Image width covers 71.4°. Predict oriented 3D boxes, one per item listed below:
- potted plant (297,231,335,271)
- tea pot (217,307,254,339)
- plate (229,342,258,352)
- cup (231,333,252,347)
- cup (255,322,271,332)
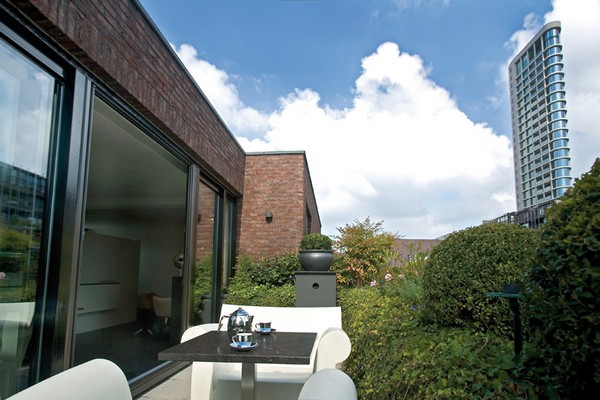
[{"bbox_3d":[0.272,0.969,7.643,0.642,0.814,0.667,2,-17,-6],"label":"potted plant"},{"bbox_3d":[-0.647,1.281,4.361,0.406,0.306,0.238,-1,-9,-21],"label":"tea pot"},{"bbox_3d":[-0.518,1.320,3.764,0.243,0.073,0.160,5,-14,-5],"label":"plate"},{"bbox_3d":[-0.534,1.277,3.817,0.168,0.120,0.114,0,-11,1],"label":"cup"},{"bbox_3d":[-0.390,1.343,4.421,0.139,0.103,0.095,0,-8,-2],"label":"cup"}]
